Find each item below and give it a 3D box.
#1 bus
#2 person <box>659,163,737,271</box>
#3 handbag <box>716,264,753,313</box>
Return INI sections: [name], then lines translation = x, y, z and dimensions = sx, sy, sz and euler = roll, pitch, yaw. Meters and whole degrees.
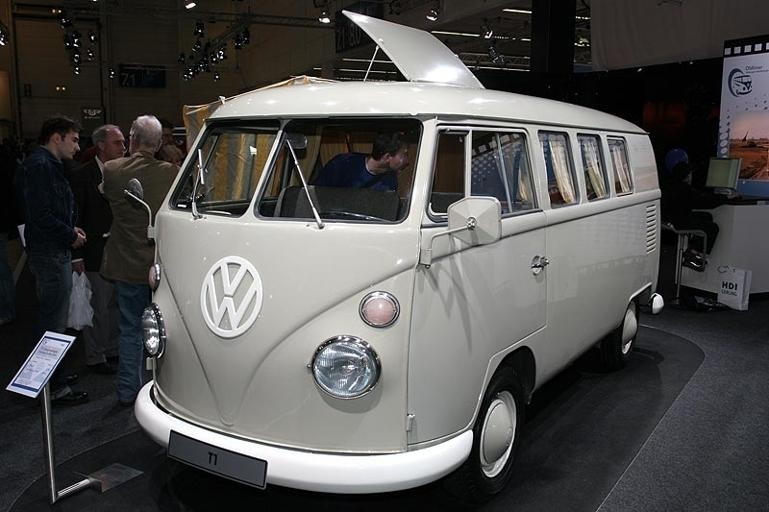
[bus]
translation = 0.332, -0.266, 4.653
dimensions = 2.540, 3.021, 4.506
euler = 1, 3, 40
[person]
translation = 5.030, -0.665, 8.263
dimensions = 0.902, 1.767, 0.701
euler = 1, 9, 30
[handbag]
translation = 5.306, 0.503, 7.721
dimensions = 0.283, 0.805, 0.507
euler = -6, 13, -41
